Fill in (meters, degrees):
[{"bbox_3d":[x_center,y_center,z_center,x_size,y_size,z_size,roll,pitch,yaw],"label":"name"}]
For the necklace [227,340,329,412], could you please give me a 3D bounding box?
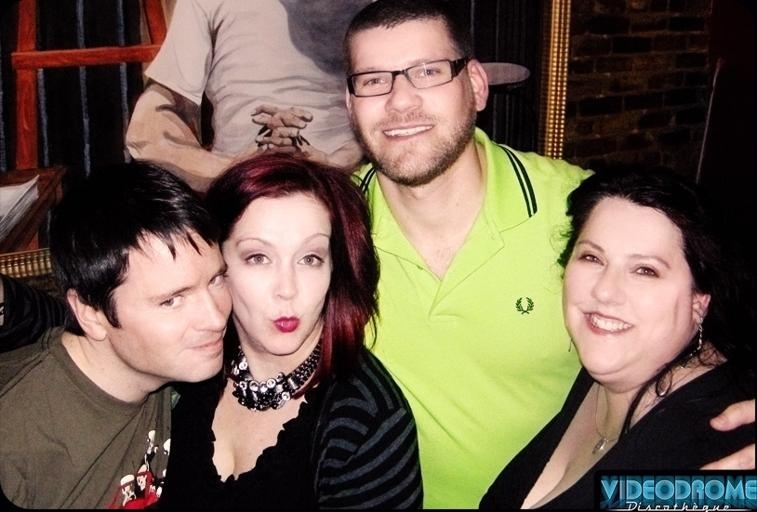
[{"bbox_3d":[-0.488,0.640,3.284,0.407,0.190,0.335,-40,57,-15],"label":"necklace"}]
